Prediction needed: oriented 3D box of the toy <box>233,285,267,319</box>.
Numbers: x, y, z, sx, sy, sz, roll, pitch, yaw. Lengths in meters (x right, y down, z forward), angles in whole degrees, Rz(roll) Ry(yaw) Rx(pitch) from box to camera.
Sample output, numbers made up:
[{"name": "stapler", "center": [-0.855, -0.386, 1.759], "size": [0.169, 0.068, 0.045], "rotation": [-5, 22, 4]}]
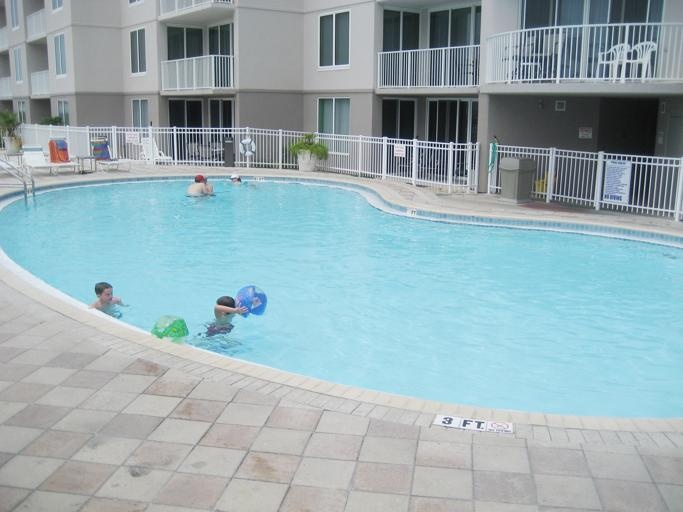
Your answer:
[{"name": "toy", "center": [-1.480, 0.713, 7.777], "size": [0.487, 0.547, 0.491], "rotation": [1, 45, 25]}]

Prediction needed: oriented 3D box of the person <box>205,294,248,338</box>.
[{"name": "person", "center": [-1.927, 1.142, 7.626], "size": [0.419, 1.092, 0.345], "rotation": [18, 31, -8]}]

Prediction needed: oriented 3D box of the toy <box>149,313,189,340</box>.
[{"name": "toy", "center": [-2.315, 0.987, 6.326], "size": [0.344, 0.296, 0.578], "rotation": [6, 14, 21]}]

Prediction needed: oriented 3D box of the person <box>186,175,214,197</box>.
[{"name": "person", "center": [-5.610, -2.710, 18.932], "size": [0.992, 0.712, 1.220], "rotation": [4, 20, 5]}]

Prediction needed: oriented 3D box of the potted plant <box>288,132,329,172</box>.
[{"name": "potted plant", "center": [-1.322, -5.241, 23.896], "size": [2.117, 1.859, 2.013], "rotation": [-6, 13, -29]}]

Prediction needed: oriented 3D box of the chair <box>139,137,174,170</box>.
[{"name": "chair", "center": [-10.364, -5.729, 25.646], "size": [1.764, 2.325, 1.434], "rotation": [9, 16, 33]}]
